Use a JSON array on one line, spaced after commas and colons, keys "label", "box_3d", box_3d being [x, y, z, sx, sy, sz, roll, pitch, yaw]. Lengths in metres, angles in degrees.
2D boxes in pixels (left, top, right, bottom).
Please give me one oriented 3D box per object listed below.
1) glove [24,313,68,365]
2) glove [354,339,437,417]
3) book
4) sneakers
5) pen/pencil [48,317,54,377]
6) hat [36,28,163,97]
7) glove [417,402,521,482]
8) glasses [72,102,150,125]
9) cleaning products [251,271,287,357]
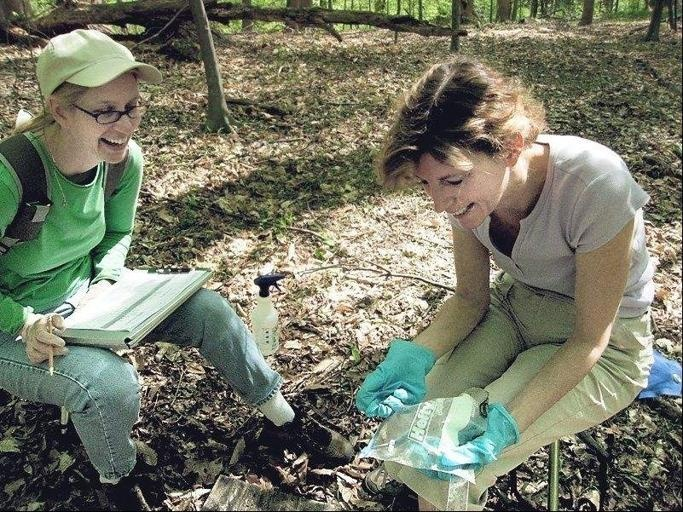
[{"label": "glove", "box_3d": [-1.684, 0.470, 3.812, 0.235, 0.292, 0.252, 5, 18, -14]}, {"label": "glove", "box_3d": [0.324, 0.722, 3.844, 0.436, 0.410, 0.530, 16, 23, 35]}, {"label": "book", "box_3d": [-1.276, 0.317, 3.972, 0.598, 0.154, 0.625, 4, 31, 28]}, {"label": "sneakers", "box_3d": [-0.186, 1.168, 4.367, 0.631, 0.248, 0.264, 19, -12, 7]}, {"label": "pen/pencil", "box_3d": [-1.658, 0.535, 3.764, 0.024, 0.331, 0.025, -15, -14, 23]}, {"label": "hat", "box_3d": [-1.435, -1.108, 3.904, 0.551, 0.313, 0.428, -12, 12, 20]}, {"label": "glove", "box_3d": [0.738, 1.032, 3.566, 0.494, 0.290, 0.207, -17, 32, -35]}, {"label": "glasses", "box_3d": [-1.391, -0.853, 3.935, 0.371, 0.119, 0.074, -11, 29, -26]}, {"label": "cleaning products", "box_3d": [-0.515, 0.350, 4.336, 0.322, 0.547, 0.260, -1, 21, -20]}]
